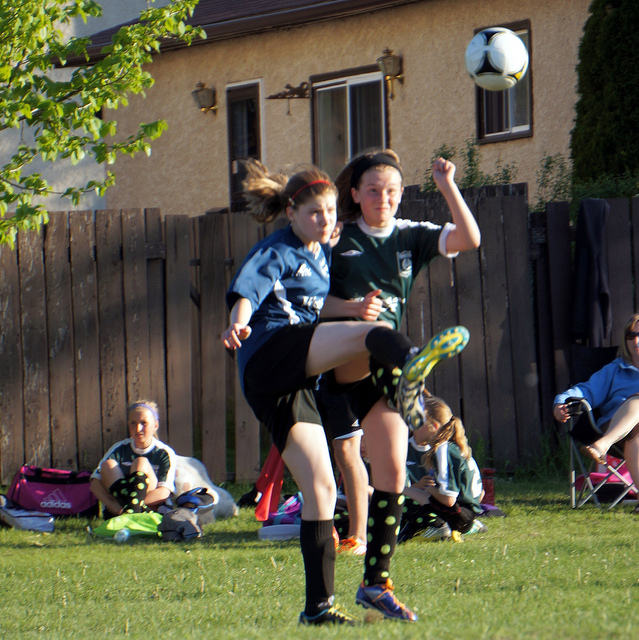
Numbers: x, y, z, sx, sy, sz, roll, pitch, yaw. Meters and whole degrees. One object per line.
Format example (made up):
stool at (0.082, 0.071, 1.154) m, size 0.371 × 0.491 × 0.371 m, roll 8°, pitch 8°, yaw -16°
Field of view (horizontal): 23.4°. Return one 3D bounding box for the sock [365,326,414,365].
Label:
sock at (0.373, 0.144, 8.276) m, size 0.291 × 0.222 × 0.133 m, roll -6°, pitch -7°, yaw 39°

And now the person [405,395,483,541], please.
person at (0.716, 1.062, 10.353) m, size 0.678 × 1.013 × 0.547 m, roll -1°, pitch 2°, yaw 3°

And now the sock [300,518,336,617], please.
sock at (-0.001, 1.390, 8.409) m, size 0.252 × 0.639 × 0.187 m, roll -1°, pitch -8°, yaw -13°

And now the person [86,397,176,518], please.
person at (-1.341, 0.992, 10.930) m, size 0.603 × 0.815 × 0.537 m, roll -1°, pitch -5°, yaw -6°

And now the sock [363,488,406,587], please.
sock at (0.341, 1.201, 8.487) m, size 0.230 × 0.533 × 0.196 m, roll -2°, pitch -5°, yaw 7°

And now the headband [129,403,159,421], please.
headband at (-1.250, 0.670, 11.047) m, size 0.238 × 0.122 × 0.110 m, roll 3°, pitch -7°, yaw -41°

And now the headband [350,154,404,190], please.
headband at (0.327, -0.878, 9.164) m, size 0.309 × 0.213 × 0.175 m, roll -2°, pitch -5°, yaw 0°

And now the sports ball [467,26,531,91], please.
sports ball at (1.516, -2.348, 13.750) m, size 0.500 × 0.556 × 0.546 m, roll 12°, pitch 29°, yaw -7°
